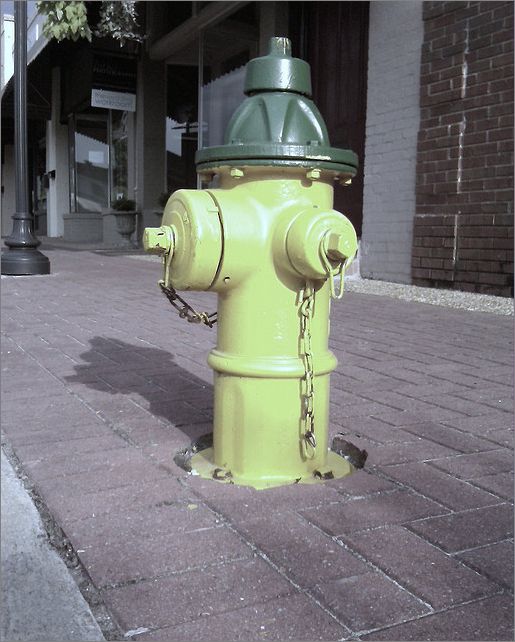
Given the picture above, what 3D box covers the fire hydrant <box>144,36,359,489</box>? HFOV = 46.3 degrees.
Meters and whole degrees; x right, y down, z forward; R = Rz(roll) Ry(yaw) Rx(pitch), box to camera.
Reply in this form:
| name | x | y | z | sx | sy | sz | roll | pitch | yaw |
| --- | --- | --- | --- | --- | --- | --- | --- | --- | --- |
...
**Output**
| name | x | y | z | sx | sy | sz | roll | pitch | yaw |
| --- | --- | --- | --- | --- | --- | --- | --- | --- | --- |
| fire hydrant | -0.007 | -0.196 | 2.094 | 0.709 | 1.565 | 0.530 | 2 | 8 | 9 |
